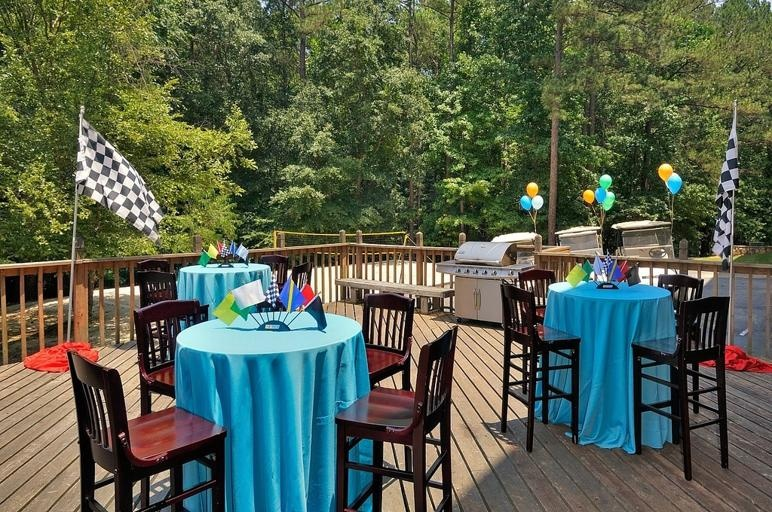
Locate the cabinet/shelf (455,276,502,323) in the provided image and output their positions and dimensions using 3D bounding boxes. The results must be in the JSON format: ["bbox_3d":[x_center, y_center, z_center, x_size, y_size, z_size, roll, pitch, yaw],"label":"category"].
[{"bbox_3d":[1.683,0.731,11.240,0.700,0.678,0.302,1,2,36],"label":"cabinet/shelf"}]
